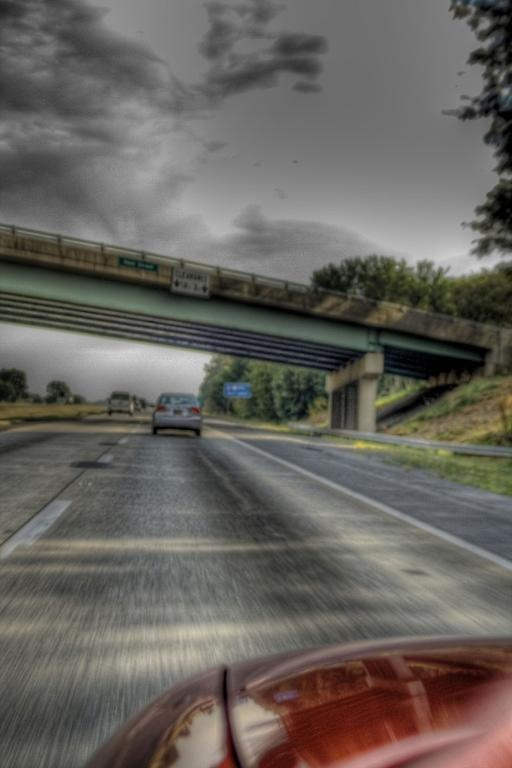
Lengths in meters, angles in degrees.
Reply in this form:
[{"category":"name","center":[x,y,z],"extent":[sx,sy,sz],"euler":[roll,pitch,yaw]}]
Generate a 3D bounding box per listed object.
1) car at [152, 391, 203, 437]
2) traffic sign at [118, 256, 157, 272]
[{"category":"car","center":[-3.271,1.311,24.663],"extent":[1.987,1.780,4.313],"euler":[3,-2,-7]},{"category":"traffic sign","center":[-7.011,-7.166,35.086],"extent":[2.265,0.760,0.326],"euler":[4,-3,-26]}]
